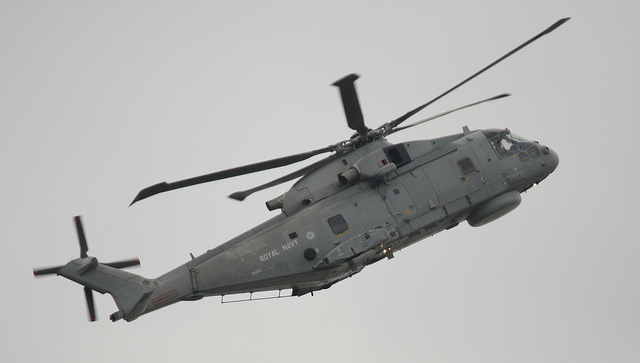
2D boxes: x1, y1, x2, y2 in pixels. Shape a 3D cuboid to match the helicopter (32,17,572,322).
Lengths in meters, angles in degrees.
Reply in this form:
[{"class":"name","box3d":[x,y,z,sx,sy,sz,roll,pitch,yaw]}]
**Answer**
[{"class":"helicopter","box3d":[-0.064,1.191,39.468,25.345,11.787,8.520,-1,-1,22]}]
